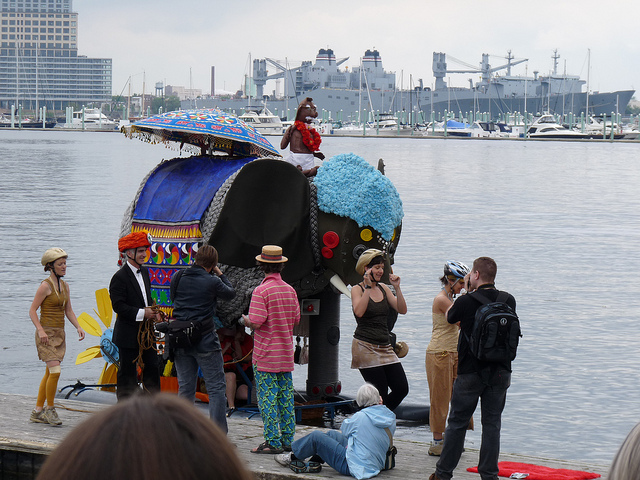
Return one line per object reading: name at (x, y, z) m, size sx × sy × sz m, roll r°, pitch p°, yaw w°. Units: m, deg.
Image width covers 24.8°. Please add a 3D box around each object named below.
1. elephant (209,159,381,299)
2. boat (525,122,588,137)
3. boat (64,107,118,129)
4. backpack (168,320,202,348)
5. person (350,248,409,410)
elephant at (-0.200, -0.319, 22.551) m, size 2.299 × 1.846 × 3.129 m, roll -5°, pitch 16°, yaw -44°
boat at (21.027, -9.856, 132.753) m, size 4.622 × 1.022 × 1.898 m, roll 4°, pitch 10°, yaw 35°
boat at (-30.660, -16.273, 196.064) m, size 5.835 × 2.410 × 28.040 m, roll -1°, pitch 6°, yaw -9°
backpack at (-1.847, 1.307, 20.291) m, size 0.489 × 0.399 × 0.347 m, roll 0°, pitch -5°, yaw 15°
person at (0.831, 1.573, 21.197) m, size 0.927 × 2.811 × 0.764 m, roll -3°, pitch 1°, yaw -7°
